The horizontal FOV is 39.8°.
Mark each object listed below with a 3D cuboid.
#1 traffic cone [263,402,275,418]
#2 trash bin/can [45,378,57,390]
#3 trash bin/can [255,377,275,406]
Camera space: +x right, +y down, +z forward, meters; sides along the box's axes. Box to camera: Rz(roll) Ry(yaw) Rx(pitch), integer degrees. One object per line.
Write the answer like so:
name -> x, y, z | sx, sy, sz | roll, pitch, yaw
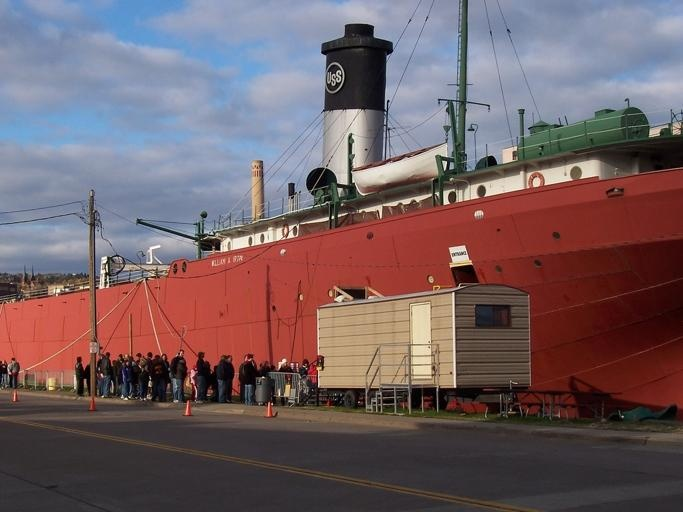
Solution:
traffic cone -> -2.045, 4.387, 26.785 | 0.371, 0.395, 0.377 | 6, 10, 38
trash bin/can -> -13.560, 6.025, 44.268 | 0.519, 0.716, 0.511 | 1, 2, -28
trash bin/can -> -2.500, 4.407, 30.797 | 0.835, 1.204, 0.751 | 2, 0, -4
